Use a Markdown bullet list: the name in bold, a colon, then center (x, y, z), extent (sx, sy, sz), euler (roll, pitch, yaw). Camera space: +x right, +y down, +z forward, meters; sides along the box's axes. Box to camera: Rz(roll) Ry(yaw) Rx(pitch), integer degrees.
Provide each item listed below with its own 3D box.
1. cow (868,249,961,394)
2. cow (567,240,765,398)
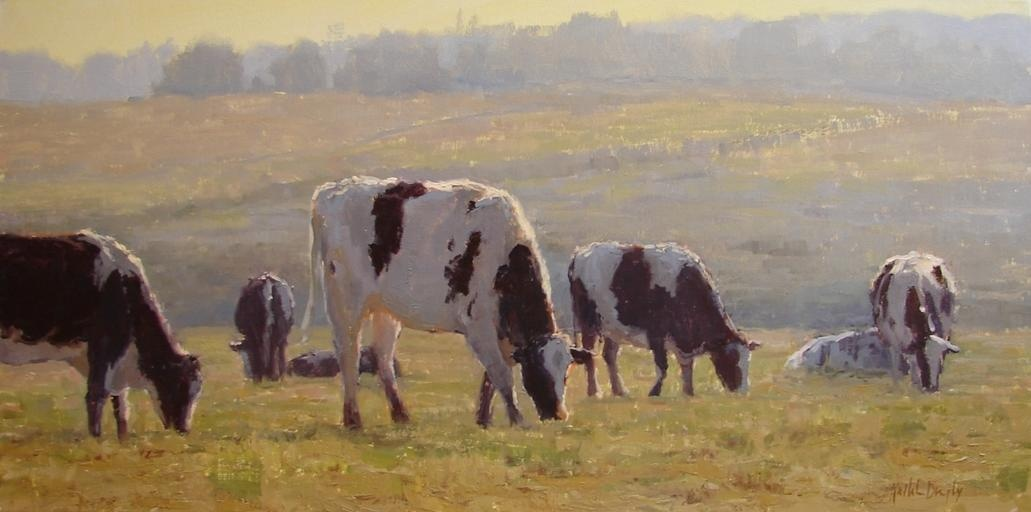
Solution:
- **cow**: center (9.194, 1.567, 43.836), extent (1.855, 3.062, 0.898), euler (1, 3, 25)
- **cow**: center (2.700, 1.302, 45.794), extent (6.248, 3.620, 2.310), euler (1, -2, 12)
